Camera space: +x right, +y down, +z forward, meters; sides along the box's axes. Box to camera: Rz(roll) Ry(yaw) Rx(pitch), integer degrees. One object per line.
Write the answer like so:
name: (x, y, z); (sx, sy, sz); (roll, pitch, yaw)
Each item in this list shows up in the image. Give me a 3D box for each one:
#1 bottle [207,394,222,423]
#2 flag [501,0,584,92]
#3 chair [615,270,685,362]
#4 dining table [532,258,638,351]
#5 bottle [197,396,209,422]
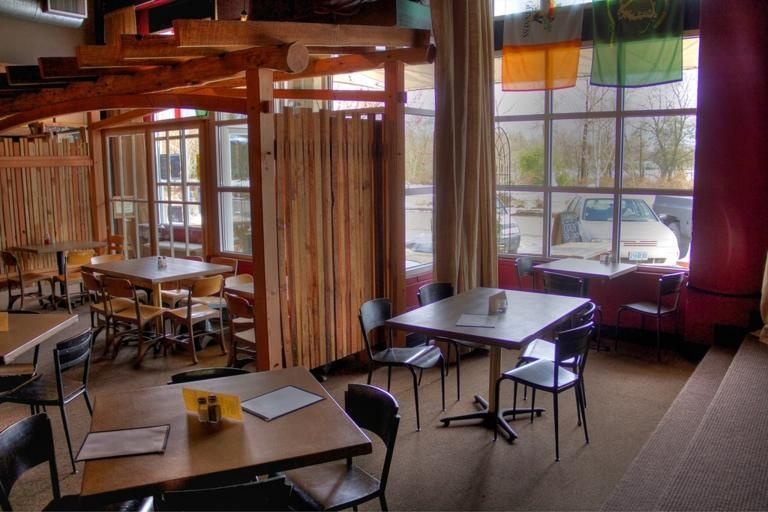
bottle: (-1.245, 1.114, 4.256); (0.096, 0.194, 0.055); (-7, 9, -15)
flag: (2.263, -3.001, 8.186); (1.414, 1.356, 0.113); (2, 8, 28)
chair: (3.593, 0.728, 7.836); (0.742, 0.998, 0.769); (-4, 5, -27)
dining table: (2.546, 0.601, 7.217); (1.188, 1.055, 1.201); (6, 8, 43)
bottle: (-1.324, 1.118, 4.261); (0.071, 0.182, 0.067); (-4, 9, 1)
